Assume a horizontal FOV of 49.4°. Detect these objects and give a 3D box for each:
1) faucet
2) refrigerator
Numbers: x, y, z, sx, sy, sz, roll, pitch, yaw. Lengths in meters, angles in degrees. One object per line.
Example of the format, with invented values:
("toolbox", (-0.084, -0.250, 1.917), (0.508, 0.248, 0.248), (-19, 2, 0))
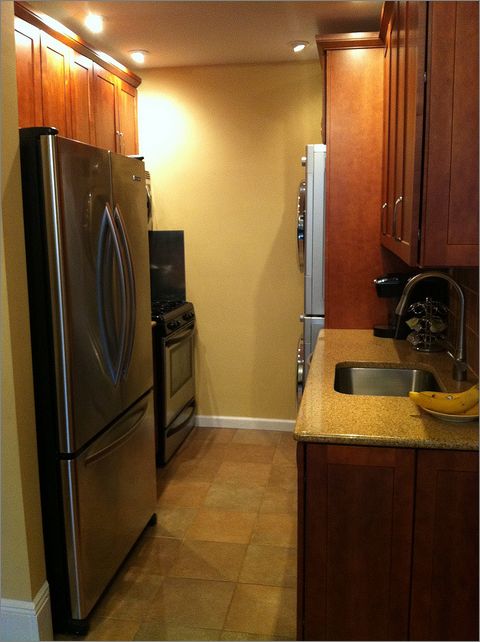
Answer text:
("faucet", (0.645, 0.015, 1.739), (0.214, 0.364, 0.495), (2, 6, 25))
("refrigerator", (-0.547, 0.211, 1.990), (0.185, 1.733, 0.751), (0, 5, 10))
